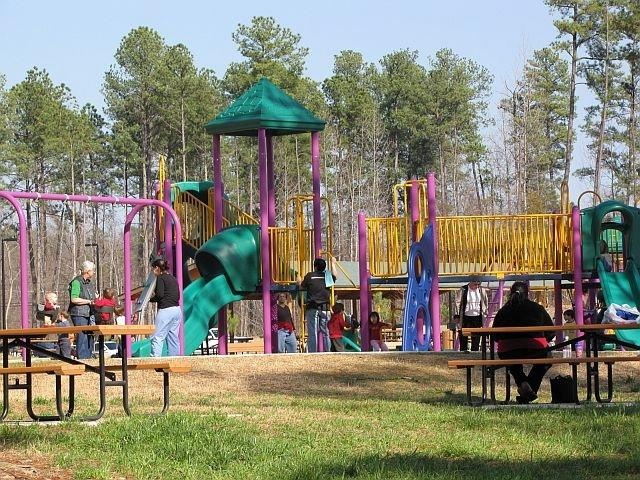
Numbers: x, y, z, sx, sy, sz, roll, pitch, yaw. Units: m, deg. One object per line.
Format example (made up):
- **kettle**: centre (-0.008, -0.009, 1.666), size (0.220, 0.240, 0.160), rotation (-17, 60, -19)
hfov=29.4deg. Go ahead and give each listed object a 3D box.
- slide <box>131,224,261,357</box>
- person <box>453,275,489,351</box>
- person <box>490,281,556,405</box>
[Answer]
- **slide**: centre (-2.969, 0.971, 30.783), size (1.692, 2.737, 4.911), rotation (7, 25, 45)
- **person**: centre (3.572, 1.822, 27.631), size (0.616, 2.128, 0.611), rotation (2, -10, -3)
- **person**: centre (3.796, 1.714, 21.948), size (0.947, 2.296, 0.919), rotation (-1, -2, 40)
